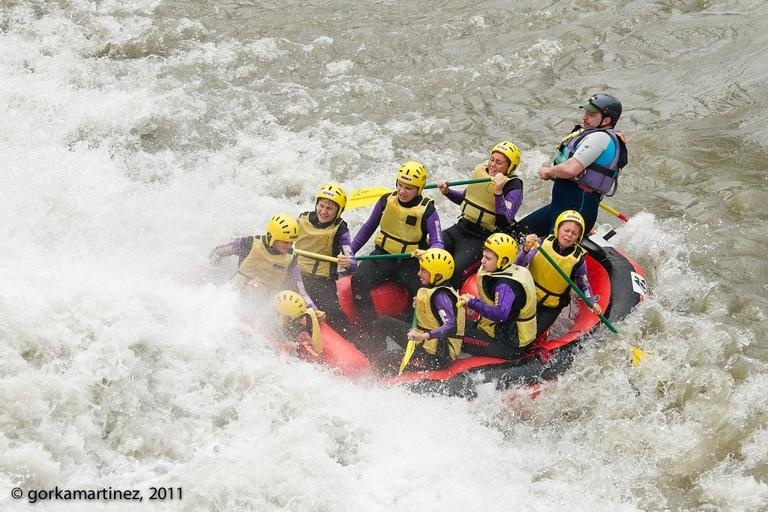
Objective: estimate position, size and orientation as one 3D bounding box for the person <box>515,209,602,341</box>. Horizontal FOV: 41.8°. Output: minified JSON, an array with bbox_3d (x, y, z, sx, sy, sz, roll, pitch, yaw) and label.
[{"bbox_3d":[2.316,0.333,13.199,0.926,0.600,1.807,39,91,3],"label":"person"}]

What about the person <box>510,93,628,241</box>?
[{"bbox_3d":[2.678,-1.188,14.473,1.339,2.607,1.067,14,35,-7],"label":"person"}]

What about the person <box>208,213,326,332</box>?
[{"bbox_3d":[-1.482,0.288,13.055,1.104,0.954,1.528,40,117,18],"label":"person"}]

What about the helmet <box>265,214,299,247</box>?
[{"bbox_3d":[-1.354,-0.344,12.907,0.432,0.370,0.319,-11,36,-32],"label":"helmet"}]

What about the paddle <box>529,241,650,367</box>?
[{"bbox_3d":[2.659,0.708,13.205,0.257,0.322,1.904,-41,96,9],"label":"paddle"}]

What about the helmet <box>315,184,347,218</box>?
[{"bbox_3d":[-0.714,-0.774,13.352,0.366,0.450,0.402,10,82,18],"label":"helmet"}]

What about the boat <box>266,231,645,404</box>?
[{"bbox_3d":[1.527,1.093,13.125,3.918,0.753,2.126,-13,55,-2],"label":"boat"}]

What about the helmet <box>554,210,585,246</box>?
[{"bbox_3d":[2.409,-0.368,13.047,0.352,0.445,0.441,9,82,3],"label":"helmet"}]

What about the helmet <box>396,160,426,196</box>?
[{"bbox_3d":[0.392,-1.050,13.371,0.340,0.353,0.410,21,76,11],"label":"helmet"}]

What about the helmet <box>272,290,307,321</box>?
[{"bbox_3d":[-1.135,0.671,12.824,0.305,0.401,0.352,28,89,12],"label":"helmet"}]
